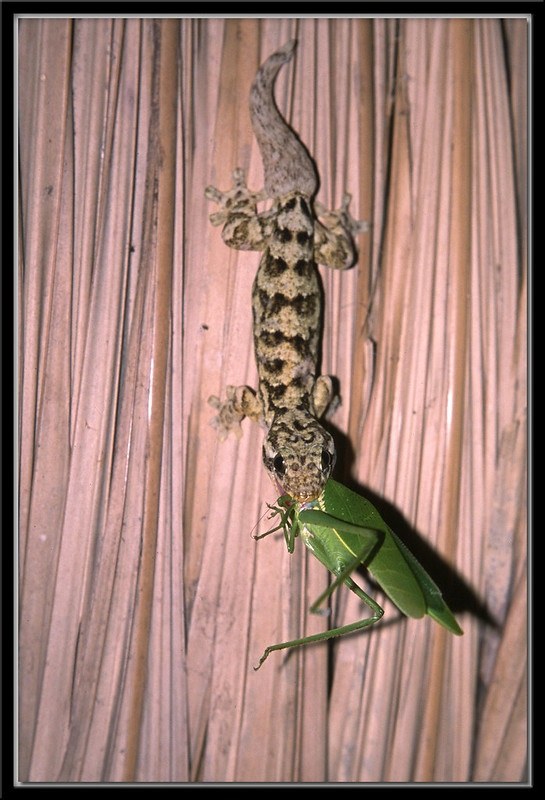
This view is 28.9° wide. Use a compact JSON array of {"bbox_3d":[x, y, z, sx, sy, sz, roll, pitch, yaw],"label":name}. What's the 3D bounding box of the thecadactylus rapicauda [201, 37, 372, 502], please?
[{"bbox_3d":[0.041,-0.269,2.483,0.299,0.152,1.250,2,-89,-18],"label":"thecadactylus rapicauda"}]
